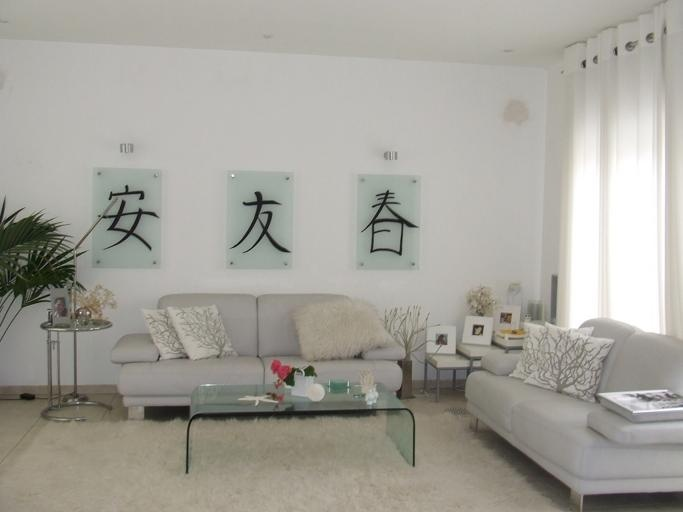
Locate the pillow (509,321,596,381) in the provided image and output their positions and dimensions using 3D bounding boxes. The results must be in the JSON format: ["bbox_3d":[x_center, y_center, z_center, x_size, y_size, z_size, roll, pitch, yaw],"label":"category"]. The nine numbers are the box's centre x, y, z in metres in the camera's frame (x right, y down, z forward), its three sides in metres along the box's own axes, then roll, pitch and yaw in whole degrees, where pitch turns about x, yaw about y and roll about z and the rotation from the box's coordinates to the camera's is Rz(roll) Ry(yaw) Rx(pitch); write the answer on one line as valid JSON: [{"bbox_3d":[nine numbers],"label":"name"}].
[{"bbox_3d":[1.650,0.734,4.654,0.132,0.380,0.384,29,-15,-35],"label":"pillow"}]

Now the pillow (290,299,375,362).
[{"bbox_3d":[-0.077,0.653,5.350,0.515,0.545,0.169,-8,-38,-4],"label":"pillow"}]

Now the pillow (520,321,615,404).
[{"bbox_3d":[1.657,0.775,4.517,0.163,0.553,0.547,25,-5,-41],"label":"pillow"}]

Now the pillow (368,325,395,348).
[{"bbox_3d":[0.374,0.733,5.334,0.168,0.183,0.085,3,-41,-6],"label":"pillow"}]

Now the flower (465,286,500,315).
[{"bbox_3d":[1.413,0.430,6.036,0.260,0.298,0.282,1,-2,0],"label":"flower"}]

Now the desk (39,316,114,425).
[{"bbox_3d":[-2.541,1.037,5.439,0.485,0.605,0.504,-13,8,-20],"label":"desk"}]

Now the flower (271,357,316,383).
[{"bbox_3d":[-0.387,0.878,4.579,0.233,0.147,0.242,1,-14,-21],"label":"flower"}]

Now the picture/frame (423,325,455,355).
[{"bbox_3d":[0.978,0.819,5.954,0.248,0.271,0.100,3,-8,1],"label":"picture/frame"}]
